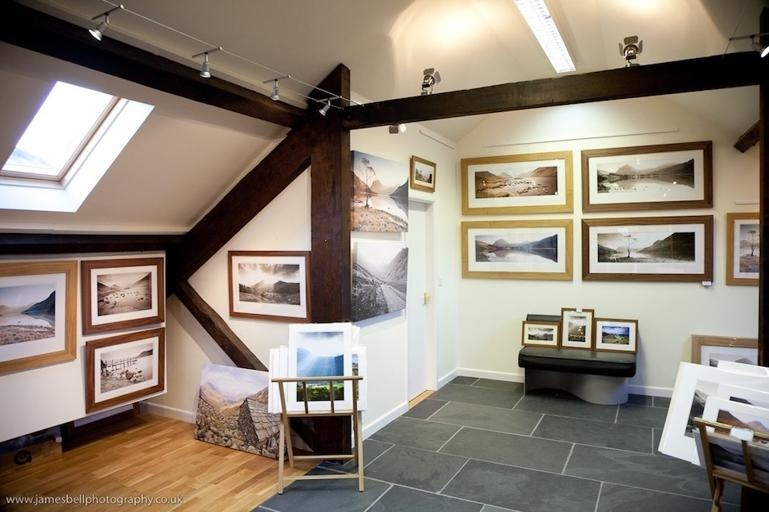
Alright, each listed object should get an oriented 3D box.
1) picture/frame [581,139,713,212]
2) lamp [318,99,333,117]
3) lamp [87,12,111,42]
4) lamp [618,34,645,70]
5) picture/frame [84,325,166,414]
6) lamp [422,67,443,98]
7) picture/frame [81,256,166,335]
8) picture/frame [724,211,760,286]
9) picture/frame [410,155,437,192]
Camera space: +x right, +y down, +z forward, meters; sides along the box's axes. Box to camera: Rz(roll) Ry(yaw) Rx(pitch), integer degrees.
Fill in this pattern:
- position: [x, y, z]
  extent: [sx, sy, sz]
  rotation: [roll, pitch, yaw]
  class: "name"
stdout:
- position: [3.547, -1.075, 6.835]
  extent: [1.058, 0.621, 0.041]
  rotation: [-1, 2, 25]
  class: "picture/frame"
- position: [-0.591, -1.526, 5.273]
  extent: [0.136, 0.152, 0.326]
  rotation: [-2, 11, -6]
  class: "lamp"
- position: [-2.166, -1.771, 3.950]
  extent: [0.158, 0.227, 0.339]
  rotation: [-6, 12, -26]
  class: "lamp"
- position: [2.269, -1.893, 4.760]
  extent: [0.149, 0.328, 0.384]
  rotation: [6, 13, 29]
  class: "lamp"
- position: [-2.927, 1.231, 5.829]
  extent: [0.089, 0.963, 1.172]
  rotation: [2, 3, 38]
  class: "picture/frame"
- position: [0.470, -1.767, 5.237]
  extent: [0.164, 0.272, 0.288]
  rotation: [1, 11, 9]
  class: "lamp"
- position: [-2.956, 0.436, 5.794]
  extent: [0.065, 0.874, 0.904]
  rotation: [3, 6, 42]
  class: "picture/frame"
- position: [4.491, -0.105, 6.508]
  extent: [0.349, 0.908, 0.196]
  rotation: [3, 12, 19]
  class: "picture/frame"
- position: [0.501, -1.085, 6.752]
  extent: [0.040, 0.391, 0.573]
  rotation: [4, 3, 33]
  class: "picture/frame"
